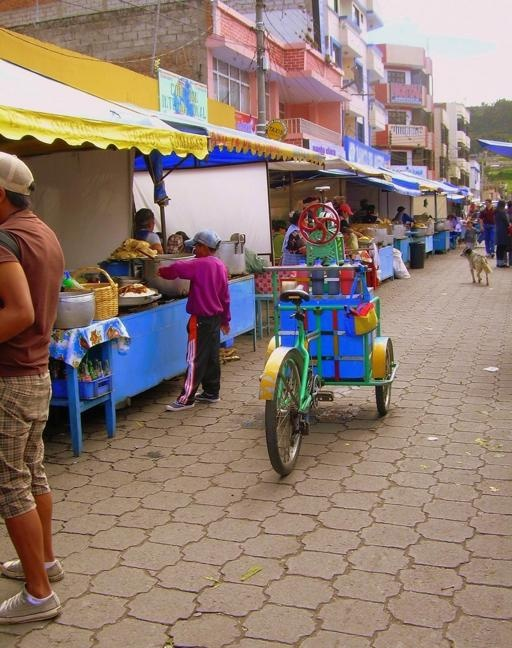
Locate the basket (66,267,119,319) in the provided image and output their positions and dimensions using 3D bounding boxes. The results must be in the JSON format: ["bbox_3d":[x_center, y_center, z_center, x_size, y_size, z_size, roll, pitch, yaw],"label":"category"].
[{"bbox_3d":[-1.434,-0.272,4.992,0.556,0.485,0.613,-2,2,-3],"label":"basket"}]

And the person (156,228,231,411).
[{"bbox_3d":[-0.498,-0.056,5.768,0.689,1.626,0.936,1,3,31],"label":"person"}]

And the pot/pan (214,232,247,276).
[{"bbox_3d":[-0.291,-1.011,8.193,0.622,0.520,0.567,1,11,24],"label":"pot/pan"}]

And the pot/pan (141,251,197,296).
[{"bbox_3d":[-1.090,-0.558,6.331,0.528,0.445,0.578,-2,13,-34],"label":"pot/pan"}]

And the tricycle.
[{"bbox_3d":[0.437,0.241,4.805,1.397,1.394,2.348,3,10,20],"label":"tricycle"}]

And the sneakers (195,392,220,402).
[{"bbox_3d":[-0.522,0.787,5.932,0.258,0.087,0.090,6,2,11],"label":"sneakers"}]

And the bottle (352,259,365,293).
[{"bbox_3d":[0.875,-0.387,4.783,0.103,0.270,0.271,-2,5,10],"label":"bottle"}]

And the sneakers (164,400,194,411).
[{"bbox_3d":[-0.775,0.830,5.659,0.282,0.093,0.097,5,-3,-16],"label":"sneakers"}]

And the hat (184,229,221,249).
[{"bbox_3d":[-0.569,-0.866,5.773,0.359,0.169,0.216,7,13,13],"label":"hat"}]

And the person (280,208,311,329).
[{"bbox_3d":[0.653,-1.290,10.262,0.480,1.385,0.521,4,13,7],"label":"person"}]
